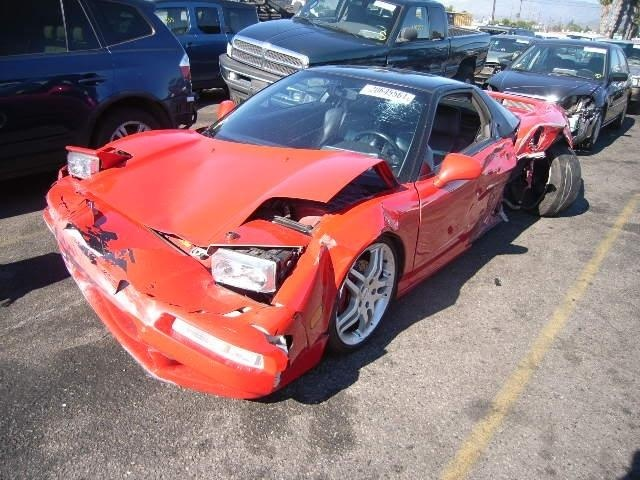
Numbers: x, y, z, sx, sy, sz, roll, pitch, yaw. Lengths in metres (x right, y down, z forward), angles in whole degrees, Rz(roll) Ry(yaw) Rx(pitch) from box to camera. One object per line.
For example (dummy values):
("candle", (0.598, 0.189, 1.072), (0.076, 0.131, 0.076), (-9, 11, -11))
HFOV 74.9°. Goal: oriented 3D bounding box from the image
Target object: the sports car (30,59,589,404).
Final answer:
("sports car", (0.354, -0.747, 3.822), (2.645, 1.241, 4.542), (32, 45, 34))
